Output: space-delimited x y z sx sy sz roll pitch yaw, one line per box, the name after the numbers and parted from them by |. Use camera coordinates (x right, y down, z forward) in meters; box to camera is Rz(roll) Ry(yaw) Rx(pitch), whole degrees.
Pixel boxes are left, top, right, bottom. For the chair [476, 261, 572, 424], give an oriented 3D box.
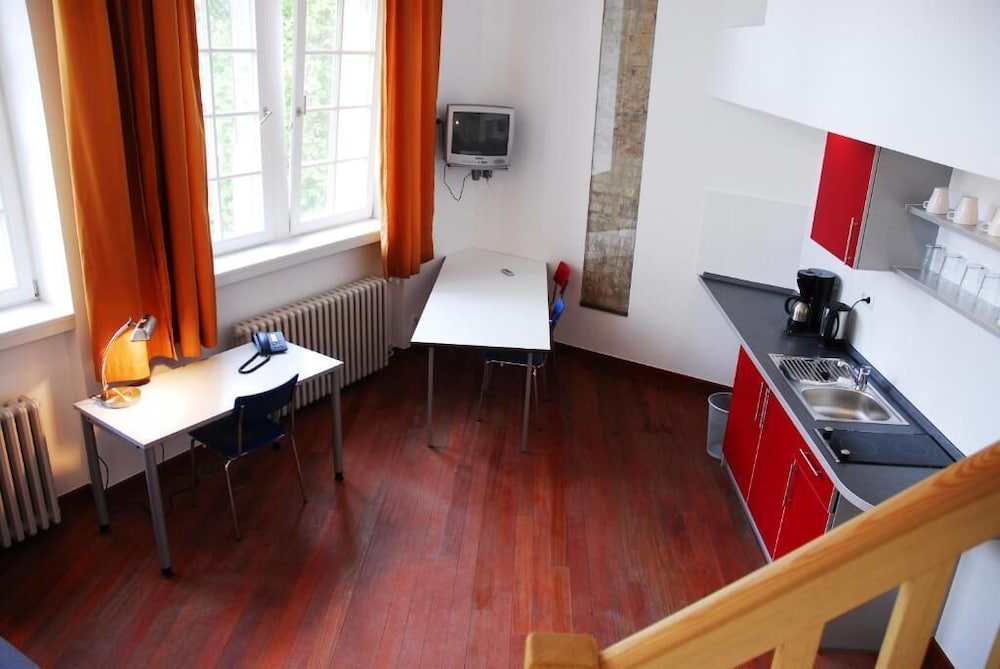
0.183 0.150 5.625 0.666 1.339 0.851 3 19 -1 | chair

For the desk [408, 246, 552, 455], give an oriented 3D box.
-0.090 0.076 5.576 0.945 0.894 1.783 3 25 2 | desk

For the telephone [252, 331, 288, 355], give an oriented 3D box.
-1.510 0.055 4.454 0.160 0.061 0.166 -2 37 -29 | telephone

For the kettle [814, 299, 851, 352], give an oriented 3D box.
2.167 -0.067 4.391 0.168 0.290 0.277 19 39 34 | kettle

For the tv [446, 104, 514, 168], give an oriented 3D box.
-0.174 -1.716 5.789 0.716 0.645 0.441 4 24 2 | tv

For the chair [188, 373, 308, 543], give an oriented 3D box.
-1.557 0.781 4.425 0.675 1.169 0.660 17 20 35 | chair
